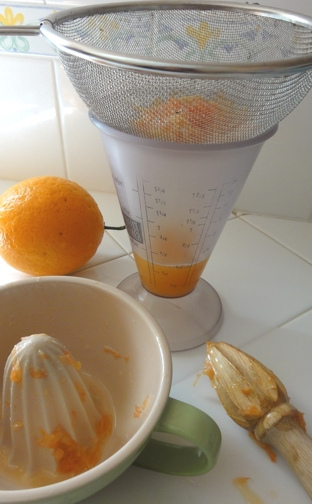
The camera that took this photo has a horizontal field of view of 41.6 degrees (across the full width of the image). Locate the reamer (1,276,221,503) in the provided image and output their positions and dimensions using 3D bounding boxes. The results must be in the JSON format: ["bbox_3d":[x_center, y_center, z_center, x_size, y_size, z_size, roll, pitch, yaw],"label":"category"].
[{"bbox_3d":[-0.048,0.108,0.294,0.159,0.077,0.131,14,44,12],"label":"reamer"}]

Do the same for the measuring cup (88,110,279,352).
[{"bbox_3d":[0.017,-0.023,0.400,0.152,0.213,0.146,2,30,-1],"label":"measuring cup"}]
